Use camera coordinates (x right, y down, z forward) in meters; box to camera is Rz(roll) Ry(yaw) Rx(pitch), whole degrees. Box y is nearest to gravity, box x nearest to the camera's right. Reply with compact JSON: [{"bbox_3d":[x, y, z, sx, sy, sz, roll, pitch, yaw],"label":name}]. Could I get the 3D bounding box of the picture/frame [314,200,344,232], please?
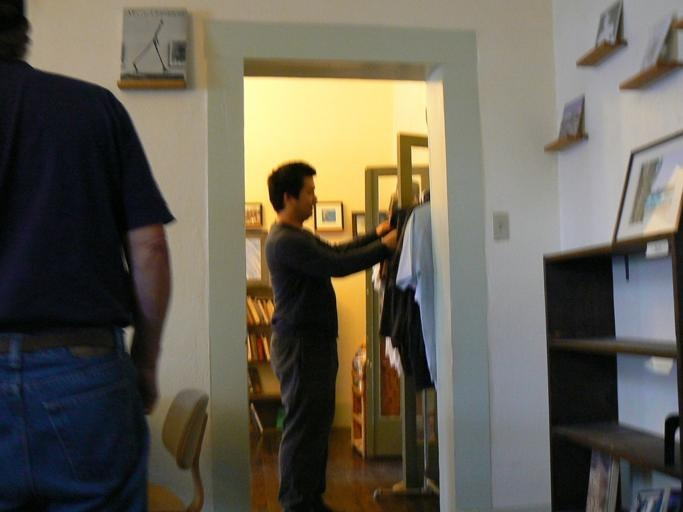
[{"bbox_3d":[-0.123,-0.350,6.045,0.235,0.302,0.034,0,-7,-5],"label":"picture/frame"}]
